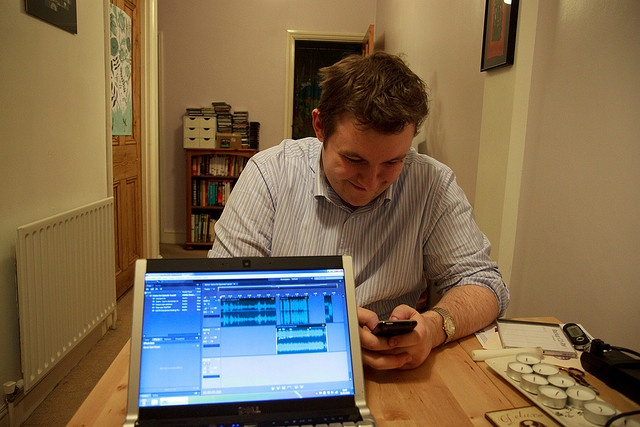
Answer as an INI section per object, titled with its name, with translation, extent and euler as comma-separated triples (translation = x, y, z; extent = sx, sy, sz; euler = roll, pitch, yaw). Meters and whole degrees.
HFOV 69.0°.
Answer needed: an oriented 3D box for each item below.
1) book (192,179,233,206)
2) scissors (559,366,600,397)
[book]
translation = -1.178, -0.242, 5.051
extent = 0.339, 0.371, 0.195
euler = 1, 6, 0
[scissors]
translation = 0.840, 0.549, 1.508
extent = 0.056, 0.015, 0.106
euler = 9, 8, -2
